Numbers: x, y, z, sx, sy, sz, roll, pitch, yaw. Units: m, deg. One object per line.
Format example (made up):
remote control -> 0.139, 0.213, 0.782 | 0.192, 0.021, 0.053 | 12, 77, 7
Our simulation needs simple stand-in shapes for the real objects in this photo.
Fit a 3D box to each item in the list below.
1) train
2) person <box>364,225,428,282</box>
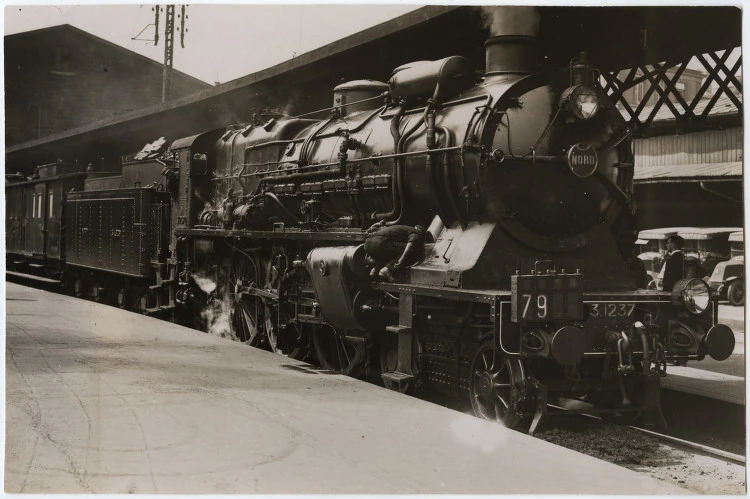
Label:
train -> -2.290, -0.584, 15.599 | 4.429, 6.374, 18.462 | 0, 3, -35
person -> 0.263, 0.030, 8.930 | 0.805, 0.487, 0.715 | -11, 12, -40
